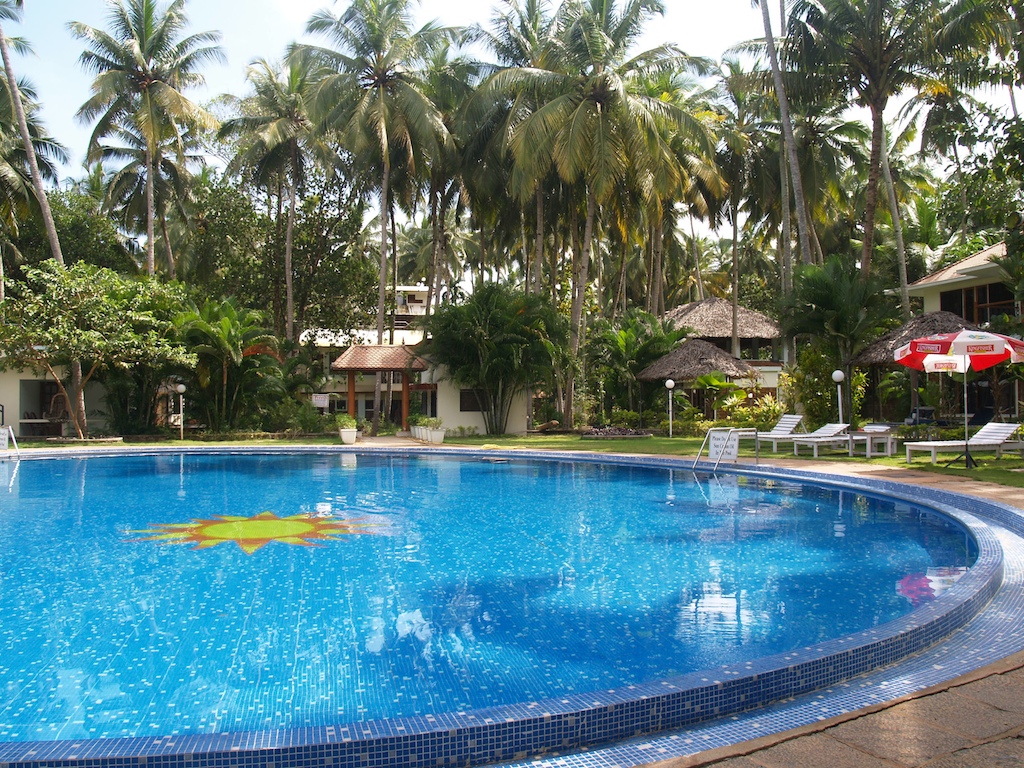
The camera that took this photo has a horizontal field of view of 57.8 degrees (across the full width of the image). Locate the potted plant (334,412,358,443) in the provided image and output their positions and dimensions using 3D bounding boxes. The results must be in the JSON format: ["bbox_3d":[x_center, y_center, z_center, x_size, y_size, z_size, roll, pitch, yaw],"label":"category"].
[{"bbox_3d":[-5.400,1.342,29.504,0.843,1.225,0.823,1,-7,-3],"label":"potted plant"}]
